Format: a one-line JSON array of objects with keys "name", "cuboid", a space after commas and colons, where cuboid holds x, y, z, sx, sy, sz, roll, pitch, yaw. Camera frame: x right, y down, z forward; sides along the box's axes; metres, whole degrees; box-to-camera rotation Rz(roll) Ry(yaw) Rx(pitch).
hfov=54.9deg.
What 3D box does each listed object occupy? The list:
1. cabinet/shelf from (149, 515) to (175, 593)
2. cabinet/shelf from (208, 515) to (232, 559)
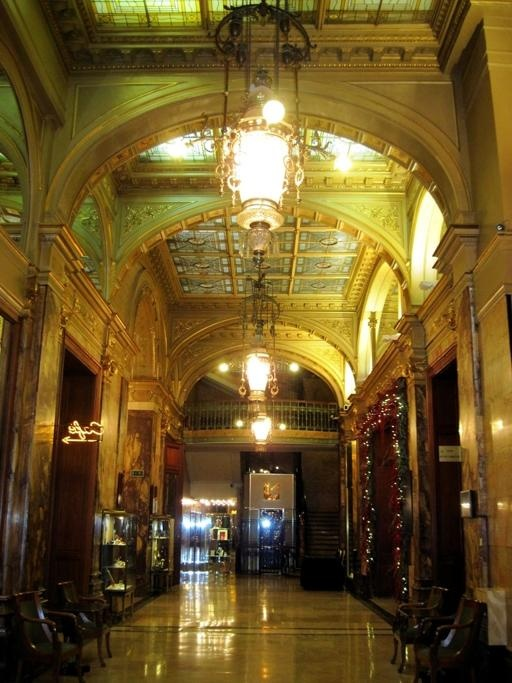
[{"name": "cabinet/shelf", "cuboid": [-2.263, 5.073, 11.756, 0.542, 1.687, 2.350, 3, -19, -9]}, {"name": "cabinet/shelf", "cuboid": [-1.534, 8.276, 20.786, 0.887, 1.848, 1.000, 2, -19, -4]}]
